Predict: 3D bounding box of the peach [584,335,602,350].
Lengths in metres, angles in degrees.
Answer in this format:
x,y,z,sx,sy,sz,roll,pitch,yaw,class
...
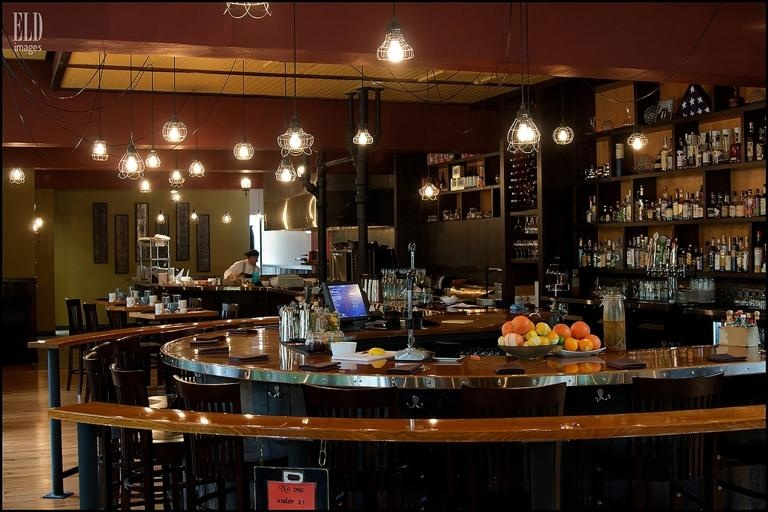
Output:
x,y,z,sx,sy,sz,roll,pitch,yaw,class
1.663,0.672,5.735,0.121,0.124,0.117,1,-1,13,peach

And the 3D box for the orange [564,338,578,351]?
x,y,z,sx,sy,sz,roll,pitch,yaw,class
1.474,0.690,5.678,0.094,0.095,0.090,1,3,3,orange

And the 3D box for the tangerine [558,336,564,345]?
x,y,z,sx,sy,sz,roll,pitch,yaw,class
1.404,0.659,5.694,0.034,0.062,0.050,11,-3,32,tangerine

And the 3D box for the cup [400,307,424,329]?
x,y,z,sx,sy,sz,roll,pitch,yaw,class
0.256,0.572,6.660,0.192,0.146,0.197,1,1,0,cup

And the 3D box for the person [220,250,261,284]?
x,y,z,sx,sy,sz,roll,pitch,yaw,class
-2.927,0.204,14.759,0.686,0.834,2.305,-1,-6,-12,person

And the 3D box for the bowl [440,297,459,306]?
x,y,z,sx,sy,sz,roll,pitch,yaw,class
0.748,0.514,8.345,0.112,0.064,0.115,0,-7,0,bowl

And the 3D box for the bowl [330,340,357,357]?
x,y,z,sx,sy,sz,roll,pitch,yaw,class
-0.327,0.725,5.675,0.155,0.082,0.119,-5,-8,22,bowl

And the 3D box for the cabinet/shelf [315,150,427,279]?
x,y,z,sx,sy,sz,roll,pitch,yaw,class
-0.170,-0.719,12.028,0.757,2.160,2.274,0,0,-33,cabinet/shelf

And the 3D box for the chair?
x,y,z,sx,sy,sz,roll,pitch,yaw,class
0.170,1.088,5.232,4.699,0.947,1.941,-2,-6,-1,chair

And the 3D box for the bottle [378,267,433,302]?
x,y,z,sx,sy,sz,roll,pitch,yaw,class
0.243,0.339,8.494,0.494,0.337,0.379,-1,-2,40,bottle

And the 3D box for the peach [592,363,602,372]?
x,y,z,sx,sy,sz,roll,pitch,yaw,class
1.581,0.820,5.352,0.047,0.046,0.048,0,-1,-23,peach

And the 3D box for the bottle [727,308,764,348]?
x,y,z,sx,sy,sz,roll,pitch,yaw,class
3.056,0.613,6.099,0.129,0.262,0.267,3,-4,-19,bottle

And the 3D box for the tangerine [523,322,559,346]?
x,y,z,sx,sy,sz,roll,pitch,yaw,class
1.226,0.593,5.606,0.164,0.109,0.222,0,1,22,tangerine

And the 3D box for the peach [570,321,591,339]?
x,y,z,sx,sy,sz,roll,pitch,yaw,class
1.580,0.588,5.804,0.135,0.136,0.130,1,1,33,peach

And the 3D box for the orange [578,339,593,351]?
x,y,z,sx,sy,sz,roll,pitch,yaw,class
1.585,0.694,5.665,0.088,0.092,0.085,4,12,30,orange
